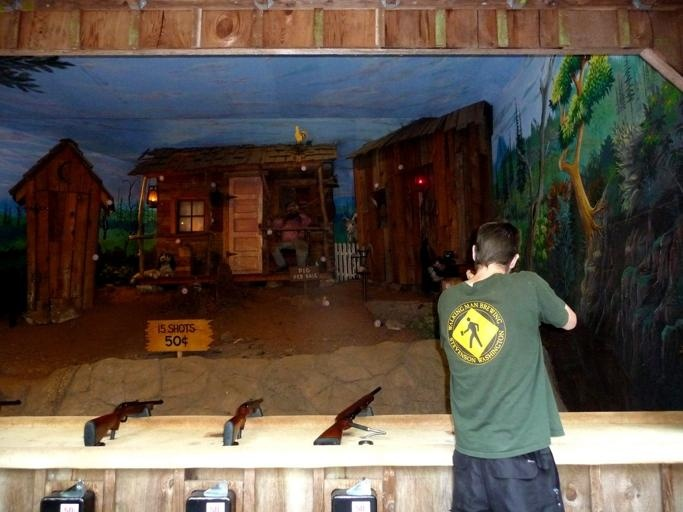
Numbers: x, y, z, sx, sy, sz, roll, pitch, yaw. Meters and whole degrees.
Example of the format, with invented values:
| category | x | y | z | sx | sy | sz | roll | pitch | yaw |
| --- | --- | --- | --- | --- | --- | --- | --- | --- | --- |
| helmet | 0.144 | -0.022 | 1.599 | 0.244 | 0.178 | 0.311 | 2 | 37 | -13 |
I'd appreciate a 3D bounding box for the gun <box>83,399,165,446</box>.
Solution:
| category | x | y | z | sx | sy | sz | roll | pitch | yaw |
| --- | --- | --- | --- | --- | --- | --- | --- | --- | --- |
| gun | -1.886 | 1.471 | 5.676 | 0.158 | 0.363 | 1.320 | -3 | -2 | 15 |
